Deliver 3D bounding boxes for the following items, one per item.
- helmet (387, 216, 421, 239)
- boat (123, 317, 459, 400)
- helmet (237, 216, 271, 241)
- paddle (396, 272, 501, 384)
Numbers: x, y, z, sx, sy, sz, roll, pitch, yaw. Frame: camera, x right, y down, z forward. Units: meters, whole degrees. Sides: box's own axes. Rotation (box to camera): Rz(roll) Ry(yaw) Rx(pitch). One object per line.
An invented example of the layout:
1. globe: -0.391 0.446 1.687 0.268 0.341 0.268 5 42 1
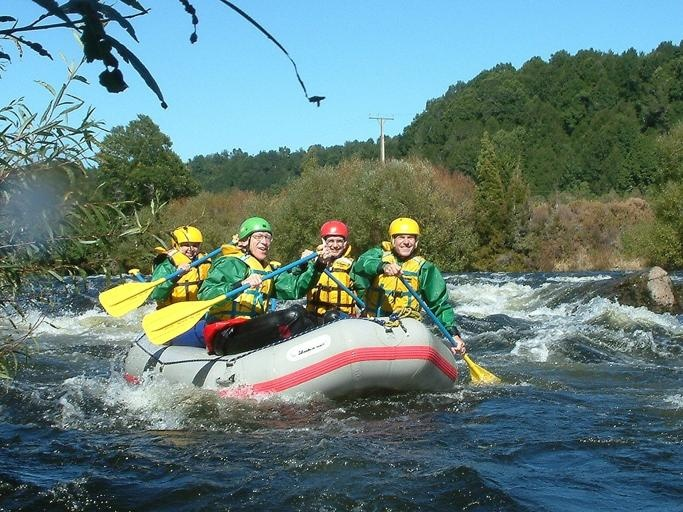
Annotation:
1. helmet: 0.740 -0.359 8.239 0.229 0.240 0.302 3 -10 -6
2. boat: -0.462 1.196 7.466 2.205 0.600 1.435 -7 -19 16
3. helmet: -1.014 -0.330 8.092 0.266 0.214 0.313 10 -4 -32
4. paddle: 1.579 1.046 9.804 0.304 1.784 0.119 -41 22 -2
